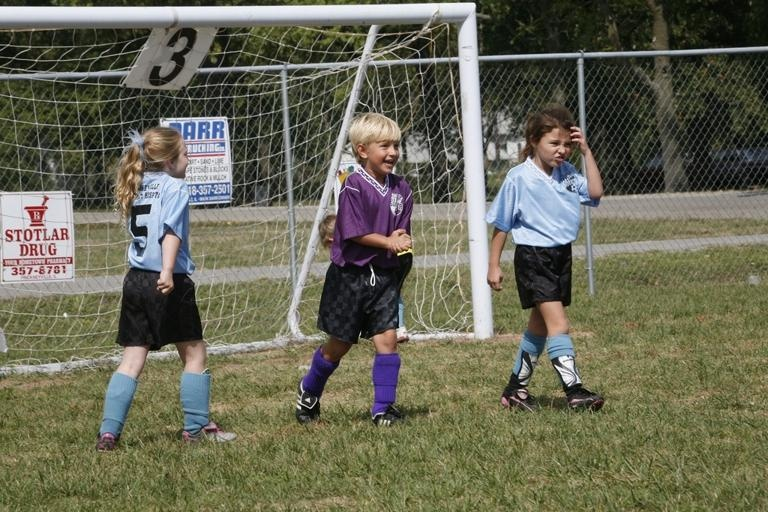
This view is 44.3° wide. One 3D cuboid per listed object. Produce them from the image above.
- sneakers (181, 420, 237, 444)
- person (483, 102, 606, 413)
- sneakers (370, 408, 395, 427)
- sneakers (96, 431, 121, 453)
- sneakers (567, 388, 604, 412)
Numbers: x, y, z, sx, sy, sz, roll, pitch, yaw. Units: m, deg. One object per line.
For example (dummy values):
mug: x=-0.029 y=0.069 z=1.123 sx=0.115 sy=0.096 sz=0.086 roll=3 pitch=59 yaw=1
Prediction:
sneakers: x=-1.510 y=1.522 z=8.172 sx=0.477 sy=0.222 sz=0.176 roll=-1 pitch=1 yaw=-11
person: x=1.429 y=0.004 z=8.421 sx=1.013 sy=2.705 sz=0.637 roll=0 pitch=5 yaw=12
sneakers: x=-0.018 y=1.414 z=8.213 sx=0.200 sy=0.093 sz=0.114 roll=-10 pitch=10 yaw=6
sneakers: x=-2.359 y=1.585 z=8.044 sx=0.187 sy=0.150 sz=0.143 roll=-4 pitch=6 yaw=-23
sneakers: x=1.783 y=1.249 z=8.181 sx=0.360 sy=0.185 sz=0.143 roll=-2 pitch=-3 yaw=31
